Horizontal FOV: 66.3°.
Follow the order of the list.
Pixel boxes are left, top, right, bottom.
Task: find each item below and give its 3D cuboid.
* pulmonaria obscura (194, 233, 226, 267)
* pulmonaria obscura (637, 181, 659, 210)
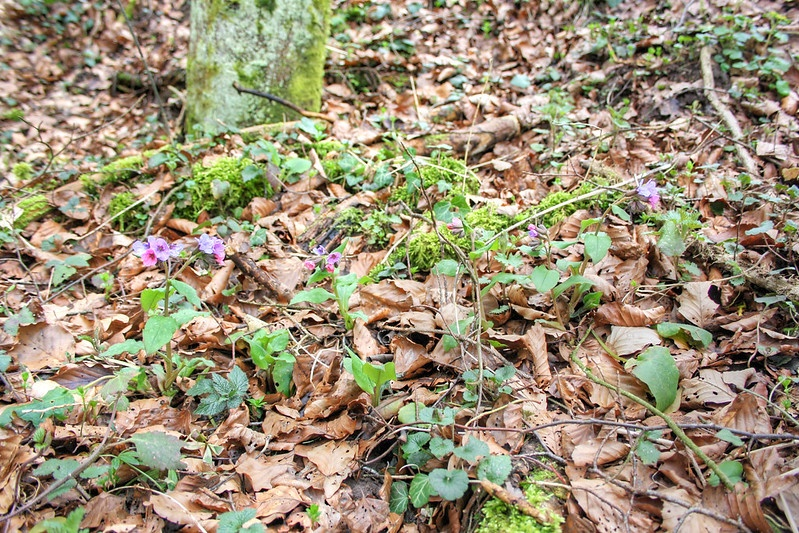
[{"bbox_3d":[-1.414,-0.104,4.600,0.112,0.228,0.220,-25,74,35],"label":"pulmonaria obscura"},{"bbox_3d":[1.903,-0.545,4.672,0.136,0.224,0.191,12,51,28],"label":"pulmonaria obscura"}]
